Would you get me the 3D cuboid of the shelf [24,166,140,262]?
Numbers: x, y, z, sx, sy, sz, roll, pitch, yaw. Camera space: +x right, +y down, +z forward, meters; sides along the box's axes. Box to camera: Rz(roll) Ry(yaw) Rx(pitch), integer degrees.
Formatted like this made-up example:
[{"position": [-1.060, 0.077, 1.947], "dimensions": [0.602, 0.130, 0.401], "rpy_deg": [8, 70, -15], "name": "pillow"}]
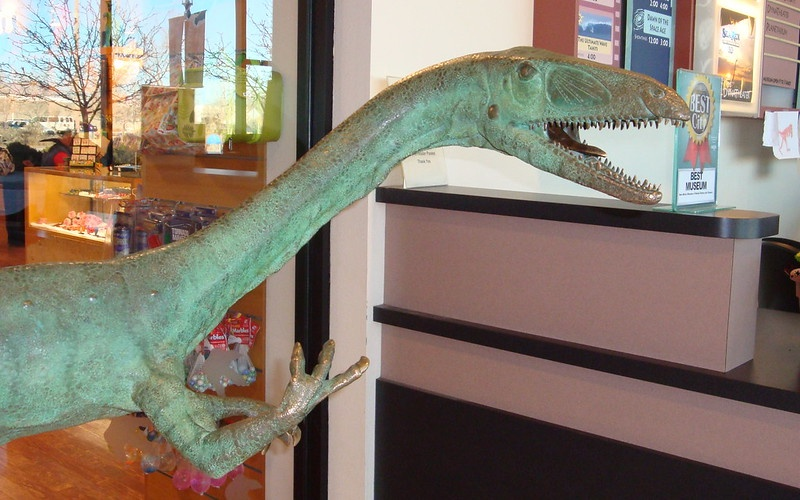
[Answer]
[{"position": [-1.158, -0.128, 2.244], "dimensions": [0.121, 0.310, 0.334], "rpy_deg": [5, 6, 44], "name": "shelf"}]
